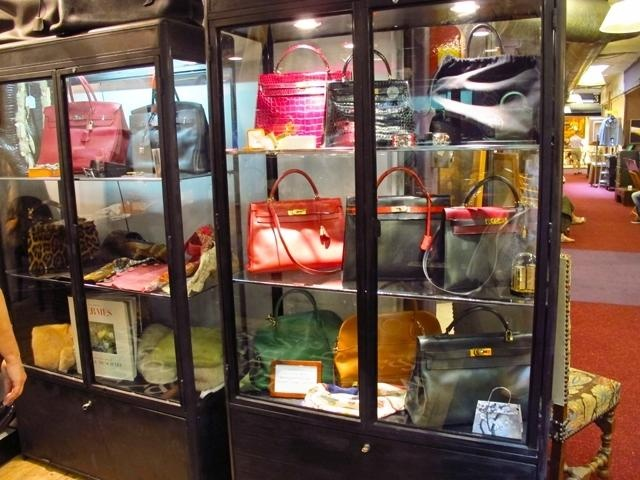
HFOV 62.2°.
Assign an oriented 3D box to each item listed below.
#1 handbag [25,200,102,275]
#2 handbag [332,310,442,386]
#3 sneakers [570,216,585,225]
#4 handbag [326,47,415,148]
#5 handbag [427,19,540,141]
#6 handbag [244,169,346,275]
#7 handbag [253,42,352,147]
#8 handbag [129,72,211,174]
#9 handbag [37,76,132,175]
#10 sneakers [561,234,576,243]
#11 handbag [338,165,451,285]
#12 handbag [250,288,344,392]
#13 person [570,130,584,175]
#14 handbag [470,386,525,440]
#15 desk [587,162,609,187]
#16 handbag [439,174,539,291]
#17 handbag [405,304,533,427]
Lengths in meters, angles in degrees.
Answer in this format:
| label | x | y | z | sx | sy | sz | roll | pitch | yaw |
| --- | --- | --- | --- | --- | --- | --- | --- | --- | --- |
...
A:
| label | x | y | z | sx | sy | sz | roll | pitch | yaw |
| --- | --- | --- | --- | --- | --- | --- | --- | --- | --- |
| handbag | -1.450 | -0.023 | 2.951 | 0.403 | 0.420 | 0.188 | -3 | 11 | 16 |
| handbag | 0.332 | 0.512 | 2.410 | 0.512 | 0.366 | 0.190 | -7 | -25 | 11 |
| sneakers | 4.147 | -0.312 | 8.560 | 0.209 | 0.147 | 0.076 | -11 | 38 | -8 |
| handbag | 0.191 | -0.619 | 2.303 | 0.396 | 0.412 | 0.154 | -1 | 6 | -2 |
| handbag | 0.683 | -0.654 | 2.218 | 0.187 | 0.455 | 0.469 | -13 | 17 | -41 |
| handbag | -0.124 | -0.070 | 2.537 | 0.452 | 0.464 | 0.214 | -1 | 16 | -4 |
| handbag | -0.100 | -0.695 | 2.545 | 0.331 | 0.441 | 0.257 | 2 | 18 | 16 |
| handbag | -0.764 | -0.565 | 2.654 | 0.374 | 0.530 | 0.225 | -2 | -4 | 3 |
| handbag | -1.230 | -0.603 | 2.739 | 0.452 | 0.492 | 0.263 | 0 | 11 | 7 |
| sneakers | 3.323 | -0.013 | 7.125 | 0.218 | 0.134 | 0.078 | -3 | 18 | -11 |
| handbag | 0.337 | -0.055 | 2.281 | 0.496 | 0.552 | 0.222 | 0 | 3 | 5 |
| handbag | -0.115 | 0.488 | 2.647 | 0.519 | 0.510 | 0.244 | 1 | -9 | -5 |
| person | 9.665 | -3.231 | 20.103 | 0.478 | 1.404 | 2.468 | 5 | 11 | 25 |
| handbag | 0.745 | 0.720 | 2.198 | 0.210 | 0.204 | 0.077 | 1 | -10 | 27 |
| desk | 7.635 | -1.793 | 14.559 | 0.496 | 0.698 | 0.931 | 0 | 6 | 13 |
| handbag | 0.715 | -0.043 | 2.231 | 0.393 | 0.498 | 0.230 | -3 | 25 | -4 |
| handbag | 0.693 | 0.561 | 2.295 | 0.540 | 0.510 | 0.227 | -6 | -24 | 24 |
